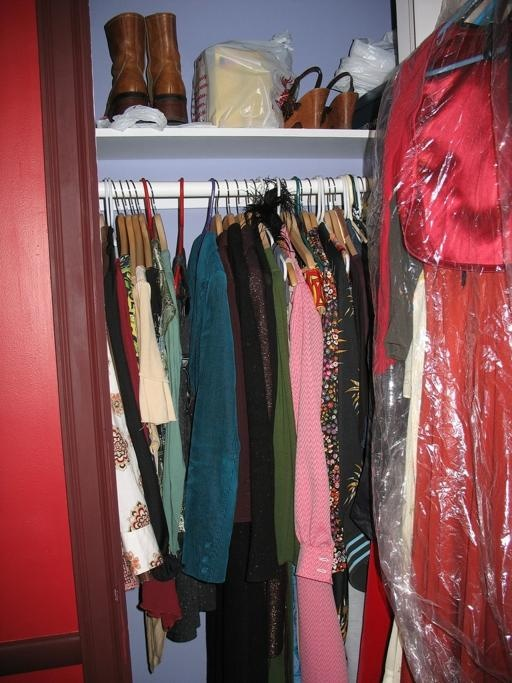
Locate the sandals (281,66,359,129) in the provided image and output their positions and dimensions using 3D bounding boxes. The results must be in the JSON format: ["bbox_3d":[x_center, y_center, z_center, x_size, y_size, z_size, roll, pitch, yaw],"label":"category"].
[{"bbox_3d":[0.131,-0.471,1.292,0.149,0.172,0.163,-10,15,-39],"label":"sandals"}]

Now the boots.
[{"bbox_3d":[-0.214,-0.539,1.198,0.145,0.241,0.218,-7,26,-15],"label":"boots"}]
